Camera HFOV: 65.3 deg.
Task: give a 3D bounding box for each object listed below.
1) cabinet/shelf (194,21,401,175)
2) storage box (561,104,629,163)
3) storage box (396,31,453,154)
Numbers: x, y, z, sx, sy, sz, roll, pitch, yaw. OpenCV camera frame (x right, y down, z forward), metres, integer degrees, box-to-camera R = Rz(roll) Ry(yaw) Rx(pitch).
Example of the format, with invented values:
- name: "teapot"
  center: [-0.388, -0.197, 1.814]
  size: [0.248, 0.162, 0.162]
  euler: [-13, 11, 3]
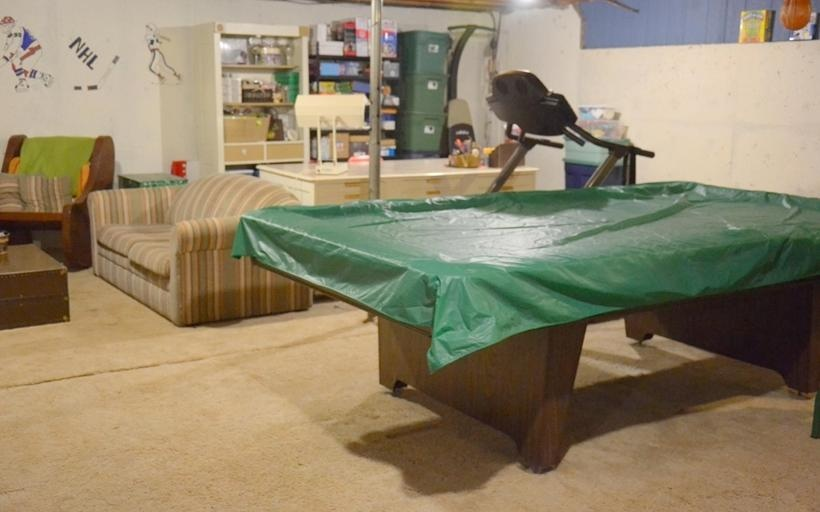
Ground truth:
- name: "cabinet/shelf"
  center: [-2.085, -2.051, 8.460]
  size: [1.482, 1.890, 0.686]
  euler: [-5, 15, -16]
- name: "storage box"
  center: [2.425, -1.566, 8.285]
  size: [0.806, 0.735, 0.737]
  euler: [-13, 19, -43]
- name: "storage box"
  center: [0.205, -2.486, 9.868]
  size: [0.814, 1.888, 0.439]
  euler: [-1, 15, -1]
